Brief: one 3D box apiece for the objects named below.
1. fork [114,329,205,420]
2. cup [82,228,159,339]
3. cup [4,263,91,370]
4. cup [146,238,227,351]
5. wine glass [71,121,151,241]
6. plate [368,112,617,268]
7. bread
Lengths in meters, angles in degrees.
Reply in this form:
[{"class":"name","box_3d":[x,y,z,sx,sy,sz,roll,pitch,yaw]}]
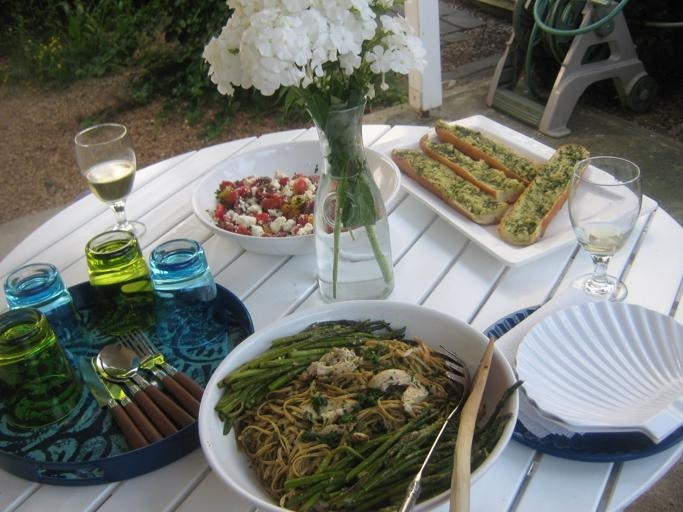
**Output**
[{"class":"fork","box_3d":[-0.359,0.238,1.048,0.034,0.026,0.210,-26,45,-30]},{"class":"cup","box_3d":[-0.484,0.074,1.248,0.129,0.250,0.150,-21,29,-38]},{"class":"cup","box_3d":[-0.635,0.084,1.218,0.191,0.244,0.177,-1,23,0]},{"class":"cup","box_3d":[-0.352,0.059,1.211,0.140,0.232,0.121,-14,25,-29]},{"class":"wine glass","box_3d":[-0.611,-0.251,1.502,0.196,0.383,0.190,-19,29,-38]},{"class":"plate","box_3d":[0.438,-0.388,1.540,0.696,0.442,0.579,-17,31,-27]},{"class":"bread","box_3d":[0.414,-0.242,1.594,0.550,0.363,0.446,-17,30,-27]}]
